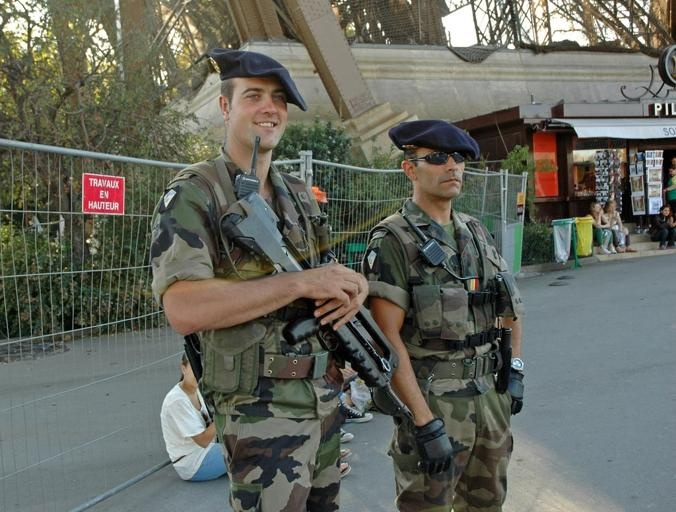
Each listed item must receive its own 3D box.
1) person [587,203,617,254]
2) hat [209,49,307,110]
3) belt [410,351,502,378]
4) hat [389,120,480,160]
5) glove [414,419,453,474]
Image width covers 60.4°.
[{"bbox_3d":[6.854,-0.736,15.115,0.788,1.319,0.457,-8,9,-31],"label":"person"},{"bbox_3d":[-0.470,-0.913,2.952,0.567,0.191,0.463,4,4,-35],"label":"hat"},{"bbox_3d":[0.649,0.602,3.166,0.498,0.149,0.082,-5,8,-10],"label":"belt"},{"bbox_3d":[0.597,-0.740,3.642,0.546,0.241,0.659,6,7,14],"label":"hat"},{"bbox_3d":[0.484,0.972,2.985,0.183,0.261,0.156,-16,1,-24],"label":"glove"}]
